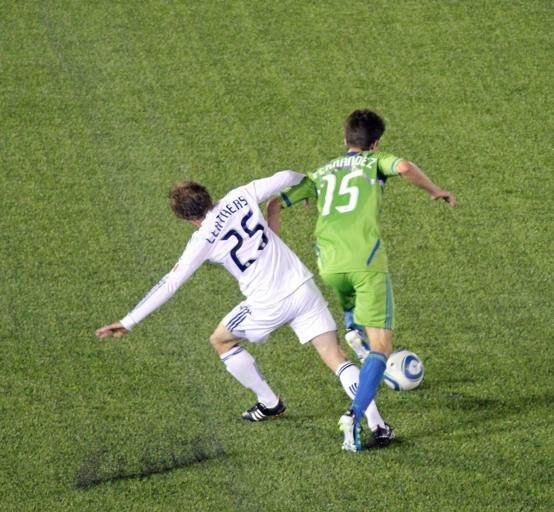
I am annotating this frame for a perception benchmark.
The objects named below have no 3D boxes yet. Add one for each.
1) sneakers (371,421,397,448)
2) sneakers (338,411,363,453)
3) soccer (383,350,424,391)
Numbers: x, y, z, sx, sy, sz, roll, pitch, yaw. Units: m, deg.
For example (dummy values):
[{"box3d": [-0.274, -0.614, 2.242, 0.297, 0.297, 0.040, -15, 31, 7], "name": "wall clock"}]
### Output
[{"box3d": [0.883, 1.440, 7.138, 0.096, 0.144, 0.287, 7, 21, 27], "name": "sneakers"}, {"box3d": [0.568, 1.304, 6.695, 0.137, 0.394, 0.163, -3, 7, 15], "name": "sneakers"}, {"box3d": [1.070, 0.958, 7.560, 0.304, 0.360, 0.391, 2, 19, 1], "name": "soccer"}]
